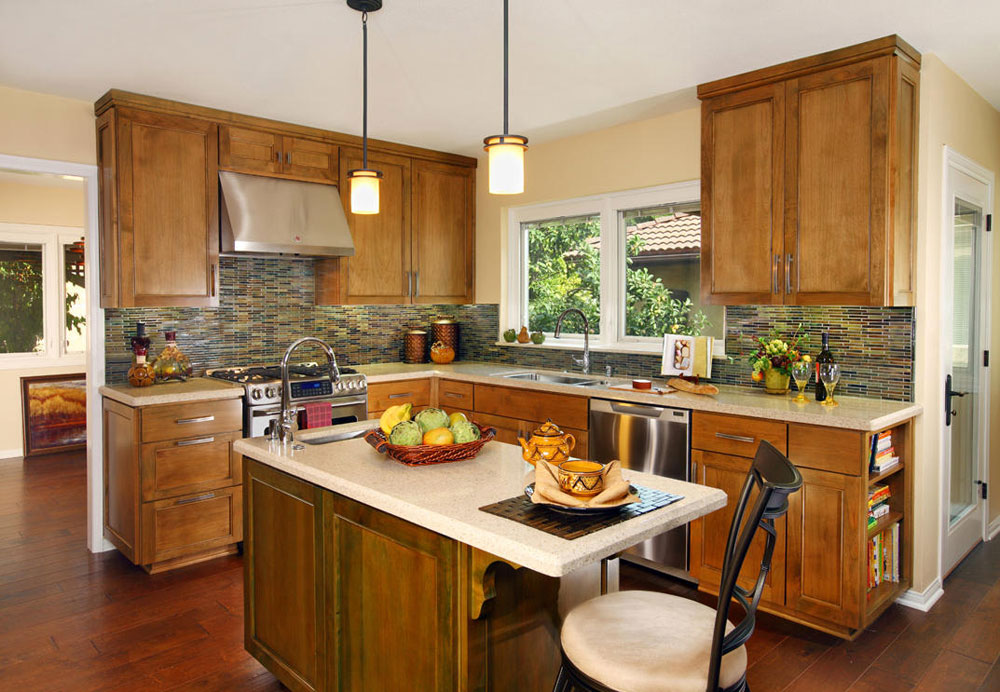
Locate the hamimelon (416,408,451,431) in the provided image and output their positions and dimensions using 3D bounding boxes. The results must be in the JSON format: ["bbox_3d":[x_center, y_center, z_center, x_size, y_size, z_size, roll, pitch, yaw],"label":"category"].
[{"bbox_3d":[-0.328,0.350,3.470,0.108,0.099,0.119,4,4,28],"label":"hamimelon"}]

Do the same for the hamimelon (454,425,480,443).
[{"bbox_3d":[-0.158,0.414,3.419,0.083,0.081,0.099,-3,-1,-34],"label":"hamimelon"}]

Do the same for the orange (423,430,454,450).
[{"bbox_3d":[-0.300,0.430,3.351,0.098,0.088,0.094,9,25,17],"label":"orange"}]

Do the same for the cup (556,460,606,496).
[{"bbox_3d":[0.320,0.541,2.958,0.138,0.095,0.143,0,-4,0],"label":"cup"}]

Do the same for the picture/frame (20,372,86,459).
[{"bbox_3d":[-4.666,0.715,7.393,0.907,0.941,0.073,-1,2,-43],"label":"picture/frame"}]

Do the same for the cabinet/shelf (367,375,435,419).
[{"bbox_3d":[-0.808,0.388,5.801,0.528,0.463,0.294,-1,0,-39],"label":"cabinet/shelf"}]

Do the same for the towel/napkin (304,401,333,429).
[{"bbox_3d":[-1.227,0.462,4.783,0.175,0.169,0.127,-3,8,-43],"label":"towel/napkin"}]

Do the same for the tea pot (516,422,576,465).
[{"bbox_3d":[0.175,0.441,3.354,0.313,0.219,0.221,2,0,18],"label":"tea pot"}]

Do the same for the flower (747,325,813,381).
[{"bbox_3d":[1.851,0.044,4.801,0.383,0.372,0.375,5,-2,31],"label":"flower"}]

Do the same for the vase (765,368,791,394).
[{"bbox_3d":[1.799,0.224,4.623,0.166,0.188,0.166,2,-5,-8],"label":"vase"}]

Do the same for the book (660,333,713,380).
[{"bbox_3d":[1.320,0.076,5.021,0.345,0.309,0.082,5,1,36],"label":"book"}]

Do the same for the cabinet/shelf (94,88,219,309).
[{"bbox_3d":[-2.355,-0.987,5.054,0.809,1.414,0.233,-9,15,-36],"label":"cabinet/shelf"}]

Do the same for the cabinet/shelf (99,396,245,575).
[{"bbox_3d":[-2.297,0.920,4.940,1.004,1.152,0.581,-2,12,-7],"label":"cabinet/shelf"}]

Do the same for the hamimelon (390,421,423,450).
[{"bbox_3d":[-0.439,0.419,3.332,0.107,0.099,0.122,2,2,34],"label":"hamimelon"}]

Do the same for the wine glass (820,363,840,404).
[{"bbox_3d":[1.989,0.223,4.301,0.095,0.240,0.160,2,12,10],"label":"wine glass"}]
